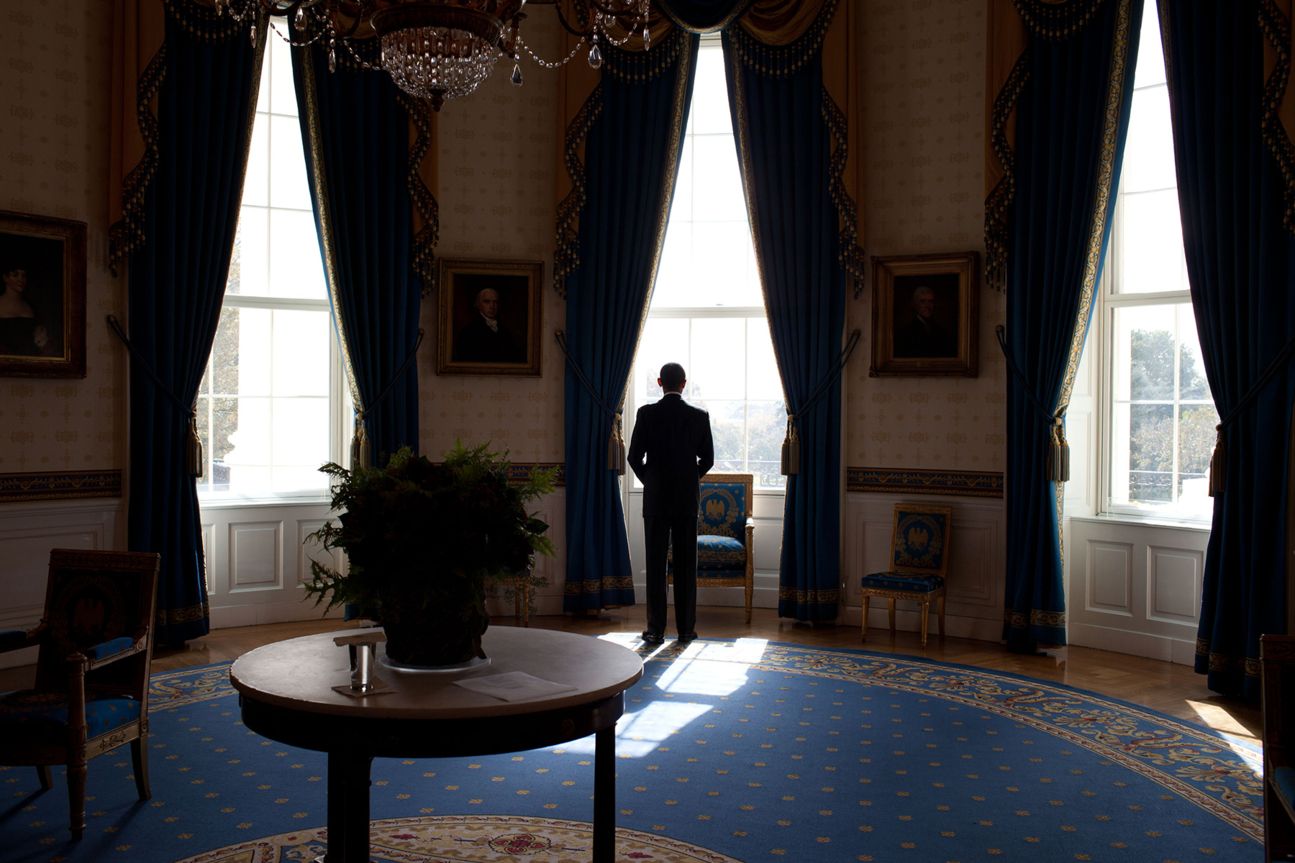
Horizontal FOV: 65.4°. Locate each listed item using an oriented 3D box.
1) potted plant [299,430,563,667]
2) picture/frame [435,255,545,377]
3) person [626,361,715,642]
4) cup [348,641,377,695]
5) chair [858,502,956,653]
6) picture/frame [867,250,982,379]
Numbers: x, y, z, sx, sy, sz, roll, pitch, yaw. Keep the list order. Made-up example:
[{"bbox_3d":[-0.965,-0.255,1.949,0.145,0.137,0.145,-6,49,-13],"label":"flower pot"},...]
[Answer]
[{"bbox_3d":[-0.867,0.520,4.339,0.858,0.868,0.900,2,-11,-11],"label":"potted plant"},{"bbox_3d":[-1.381,-0.974,8.494,0.923,1.067,0.075,0,1,-12],"label":"picture/frame"},{"bbox_3d":[0.159,0.572,7.644,0.606,1.703,0.441,0,0,-5],"label":"person"},{"bbox_3d":[-1.081,0.904,3.827,0.098,0.186,0.140,0,0,-21],"label":"cup"},{"bbox_3d":[2.064,1.119,8.042,0.692,0.753,0.592,0,-1,18],"label":"chair"},{"bbox_3d":[2.260,-0.941,8.102,0.945,1.220,0.087,0,1,20],"label":"picture/frame"}]
